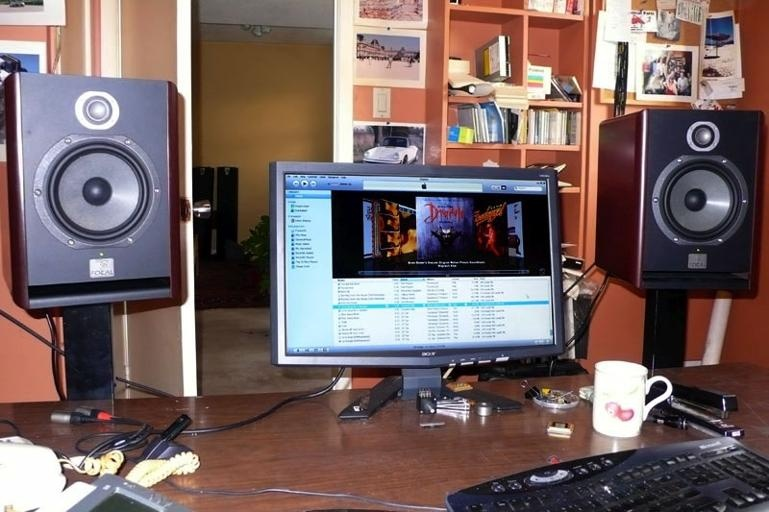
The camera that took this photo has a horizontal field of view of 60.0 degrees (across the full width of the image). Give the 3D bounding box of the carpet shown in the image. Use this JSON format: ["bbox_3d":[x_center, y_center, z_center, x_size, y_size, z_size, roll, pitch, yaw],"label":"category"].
[{"bbox_3d":[-1.503,0.270,6.538,0.572,0.019,1.260,6,-29,-11],"label":"carpet"}]

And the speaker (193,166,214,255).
[{"bbox_3d":[-2.120,-0.650,7.858,0.203,0.745,0.196,-2,-10,12],"label":"speaker"}]

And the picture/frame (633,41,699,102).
[{"bbox_3d":[1.343,-0.890,3.227,0.424,0.338,0.042,0,5,-13],"label":"picture/frame"}]

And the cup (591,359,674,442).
[{"bbox_3d":[0.634,0.374,1.717,0.187,0.160,0.118,6,11,35],"label":"cup"}]

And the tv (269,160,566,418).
[{"bbox_3d":[0.088,0.083,1.800,0.726,0.575,0.135,1,-2,-5],"label":"tv"}]

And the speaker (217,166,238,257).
[{"bbox_3d":[-1.878,-0.611,8.065,0.225,0.900,0.192,3,9,4],"label":"speaker"}]
